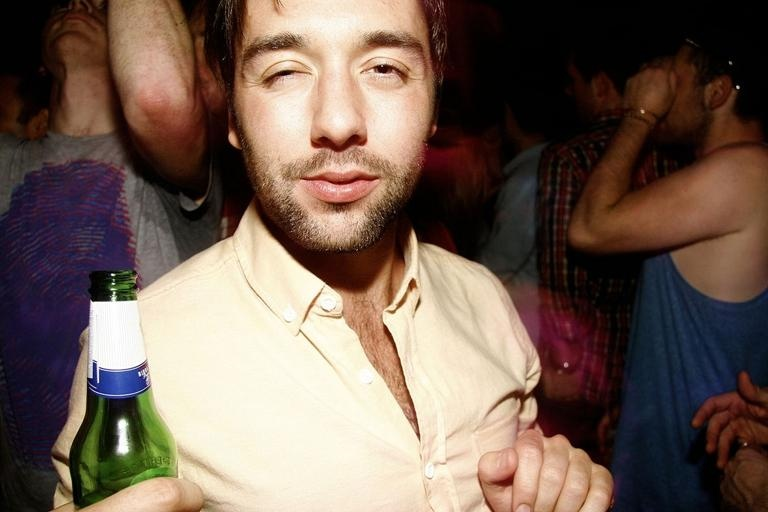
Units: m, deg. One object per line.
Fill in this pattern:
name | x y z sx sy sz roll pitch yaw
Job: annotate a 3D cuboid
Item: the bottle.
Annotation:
bottle | -0.947 0.449 2.267 0.358 0.708 0.481 -11 38 -15
